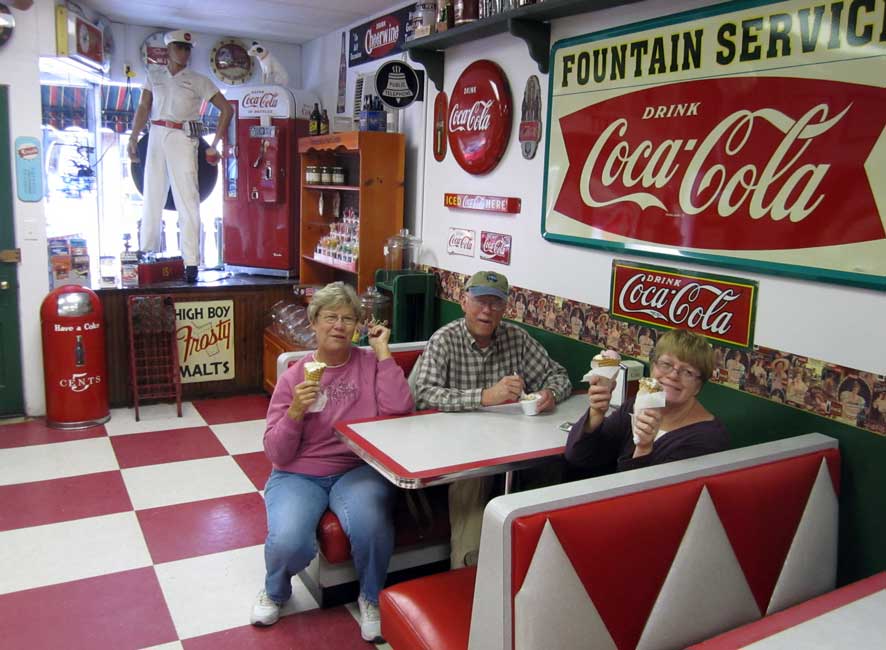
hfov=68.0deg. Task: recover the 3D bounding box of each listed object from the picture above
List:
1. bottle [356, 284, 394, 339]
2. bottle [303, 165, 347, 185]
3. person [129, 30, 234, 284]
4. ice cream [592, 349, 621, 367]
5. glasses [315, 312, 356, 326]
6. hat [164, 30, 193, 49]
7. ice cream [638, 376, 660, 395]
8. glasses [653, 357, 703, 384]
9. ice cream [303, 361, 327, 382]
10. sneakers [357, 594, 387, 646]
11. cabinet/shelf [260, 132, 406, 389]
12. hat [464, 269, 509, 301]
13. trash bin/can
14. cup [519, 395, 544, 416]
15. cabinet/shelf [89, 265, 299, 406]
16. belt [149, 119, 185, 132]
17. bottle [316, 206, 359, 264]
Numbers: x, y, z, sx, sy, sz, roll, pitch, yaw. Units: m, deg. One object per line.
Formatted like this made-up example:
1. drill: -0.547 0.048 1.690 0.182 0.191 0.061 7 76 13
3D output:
1. bottle: -0.570 -0.102 5.115 0.316 0.566 0.322 0 6 0
2. bottle: -1.112 -1.317 5.987 0.245 0.129 0.254 1 5 0
3. person: -2.517 -1.588 6.190 0.826 2.167 0.450 4 13 7
4. ice cream: 0.691 0.135 2.775 0.105 0.078 0.079 -1 8 4
5. glasses: -0.546 -0.031 3.325 0.197 0.058 0.070 0 14 -11
6. hat: -2.409 -2.564 5.893 0.181 0.096 0.229 -12 28 -40
7. ice cream: 0.806 0.240 2.564 0.075 0.056 0.109 8 15 19
8. glasses: 0.944 0.181 2.654 0.131 0.105 0.042 15 -6 -9
9. ice cream: -0.606 0.216 3.086 0.085 0.091 0.088 5 0 3
10. sneakers: -0.355 1.419 3.222 0.124 0.142 0.313 6 0 -29
11. cabinet/shelf: -1.010 -0.798 5.765 0.893 1.735 0.547 16 22 38
12. hat: 0.238 -0.218 3.622 0.224 0.148 0.187 3 14 1
13. trash bin/can: -2.971 0.255 5.263 0.439 1.104 0.290 -6 16 -34
14. cup: 0.451 0.409 3.361 0.101 0.074 0.089 1 1 -35
15. cabinet/shelf: -2.472 0.382 6.336 1.779 1.289 0.970 -3 5 -33
16. belt: -2.573 -1.848 6.097 0.277 0.092 0.066 4 13 2
17. bottle: -0.915 -0.728 5.778 0.256 0.386 0.847 1 14 -20
